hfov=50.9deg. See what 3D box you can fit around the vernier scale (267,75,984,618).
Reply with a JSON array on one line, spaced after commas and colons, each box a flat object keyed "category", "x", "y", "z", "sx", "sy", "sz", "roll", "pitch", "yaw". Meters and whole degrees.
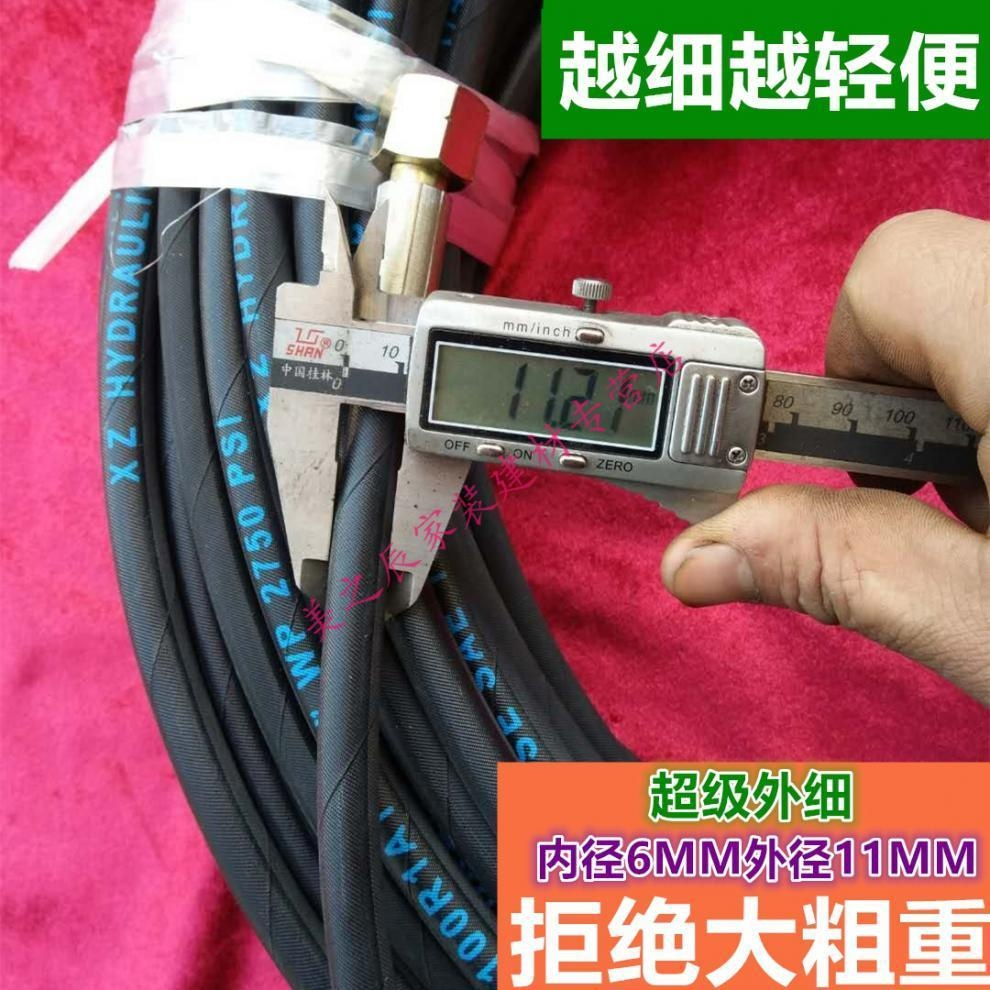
[{"category": "vernier scale", "x": 0.126, "y": -0.083, "z": 1.070, "sx": 0.860, "sy": 0.451, "sz": 0.163, "roll": 11, "pitch": 16, "yaw": -29}]
